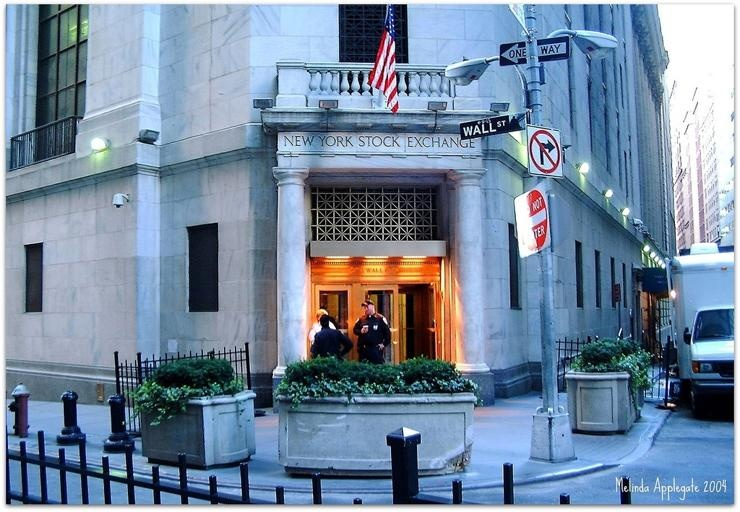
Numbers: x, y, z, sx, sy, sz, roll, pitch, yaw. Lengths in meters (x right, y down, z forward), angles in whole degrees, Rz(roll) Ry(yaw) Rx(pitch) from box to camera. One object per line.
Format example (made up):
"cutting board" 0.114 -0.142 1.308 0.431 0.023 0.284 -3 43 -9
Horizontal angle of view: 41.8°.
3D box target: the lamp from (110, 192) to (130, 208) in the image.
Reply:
"lamp" -7.998 -1.841 31.075 0.367 0.527 0.526 3 -2 27

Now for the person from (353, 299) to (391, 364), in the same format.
"person" 0.129 2.234 27.987 0.811 1.955 0.796 0 0 18

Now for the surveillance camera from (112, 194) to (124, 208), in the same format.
"surveillance camera" -8.053 -1.802 31.071 0.383 0.445 0.385 0 -2 -31

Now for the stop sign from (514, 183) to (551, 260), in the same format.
"stop sign" 4.013 -0.873 23.866 0.727 1.821 0.601 2 1 24

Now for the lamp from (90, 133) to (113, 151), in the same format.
"lamp" -8.744 -3.731 31.662 0.704 0.539 0.258 -8 -12 25

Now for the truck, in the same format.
"truck" 9.919 2.002 28.909 1.831 5.455 3.586 -6 -11 16

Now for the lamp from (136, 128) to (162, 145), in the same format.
"lamp" -7.048 -3.891 31.072 0.746 0.490 0.431 1 -11 -23

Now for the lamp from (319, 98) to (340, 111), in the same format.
"lamp" -1.205 -4.574 28.311 0.543 0.410 0.291 0 1 -11

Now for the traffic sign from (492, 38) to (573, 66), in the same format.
"traffic sign" 4.254 -5.270 24.626 1.357 0.819 1.425 -2 -4 29

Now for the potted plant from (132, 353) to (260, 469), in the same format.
"potted plant" -4.181 3.824 23.579 2.725 2.656 1.011 0 -11 -13

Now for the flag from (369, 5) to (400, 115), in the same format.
"flag" 0.413 -5.534 27.739 0.716 3.177 0.786 5 2 10
